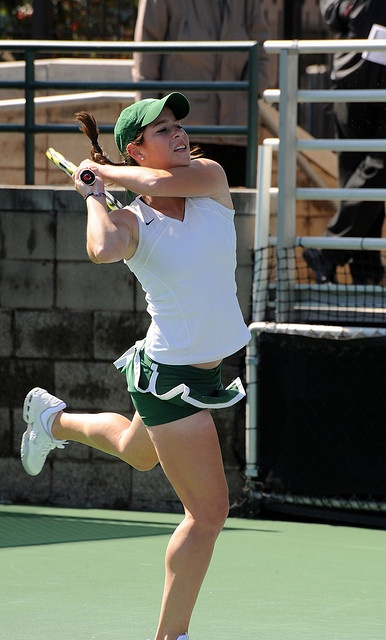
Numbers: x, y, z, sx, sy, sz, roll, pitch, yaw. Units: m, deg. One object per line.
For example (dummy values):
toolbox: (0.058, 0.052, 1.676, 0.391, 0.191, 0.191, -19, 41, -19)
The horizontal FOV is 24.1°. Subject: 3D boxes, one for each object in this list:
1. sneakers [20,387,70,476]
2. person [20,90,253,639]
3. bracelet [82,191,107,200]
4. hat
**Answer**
sneakers: (-0.613, 0.513, 3.872, 0.260, 0.426, 0.146, 9, 16, 14)
person: (-0.087, 0.128, 2.936, 0.543, 1.732, 0.491, 1, 2, 2)
bracelet: (-0.314, -0.400, 2.913, 0.039, 0.011, 0.038, 5, -15, 4)
hat: (-0.155, -0.674, 3.021, 0.135, 0.249, 0.163, 42, 29, -6)
